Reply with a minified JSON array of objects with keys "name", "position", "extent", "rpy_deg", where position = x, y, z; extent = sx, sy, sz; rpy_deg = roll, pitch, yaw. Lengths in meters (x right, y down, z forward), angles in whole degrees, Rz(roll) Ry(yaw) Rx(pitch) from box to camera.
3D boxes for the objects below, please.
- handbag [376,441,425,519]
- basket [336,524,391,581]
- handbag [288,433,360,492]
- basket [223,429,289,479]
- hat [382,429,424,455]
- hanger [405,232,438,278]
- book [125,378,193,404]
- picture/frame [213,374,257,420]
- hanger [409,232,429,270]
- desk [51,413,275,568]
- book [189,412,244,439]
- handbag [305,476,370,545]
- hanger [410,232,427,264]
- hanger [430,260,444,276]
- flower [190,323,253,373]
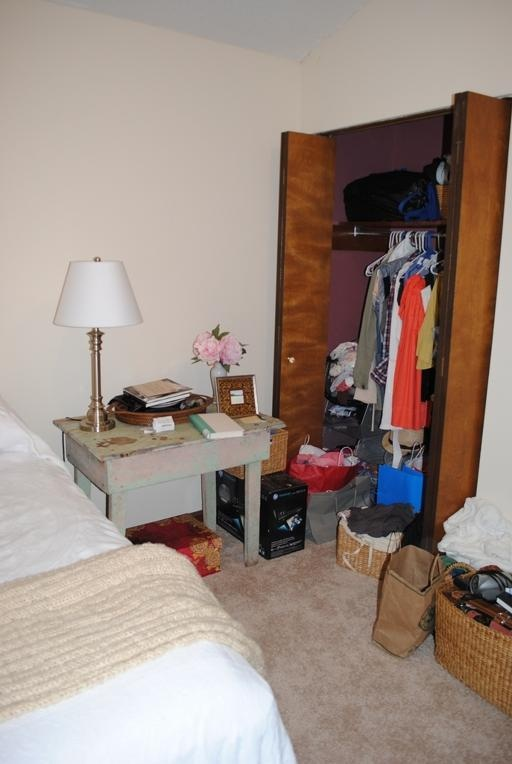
[{"name":"handbag","position":[0.689,0.465,2.962],"extent":[0.184,0.320,0.328],"rpy_deg":[-2,7,-30]},{"name":"basket","position":[0.439,0.731,2.611],"extent":[0.181,0.226,0.234],"rpy_deg":[9,5,-39]},{"name":"handbag","position":[0.337,0.430,3.132],"extent":[0.284,0.272,0.215],"rpy_deg":[3,5,-29]},{"name":"basket","position":[0.020,0.353,3.047],"extent":[0.247,0.170,0.243],"rpy_deg":[-4,3,-38]},{"name":"hat","position":[0.758,0.321,3.051],"extent":[0.156,0.044,0.118],"rpy_deg":[-21,40,1]},{"name":"hanger","position":[0.786,-0.574,2.775],"extent":[0.082,0.221,0.175],"rpy_deg":[22,20,37]},{"name":"book","position":[-0.435,0.037,2.531],"extent":[0.146,0.035,0.149],"rpy_deg":[-11,20,-37]},{"name":"picture/frame","position":[-0.100,0.072,2.638],"extent":[0.186,0.182,0.015],"rpy_deg":[8,-12,-38]},{"name":"hanger","position":[0.780,-0.626,2.810],"extent":[0.037,0.158,0.159],"rpy_deg":[0,11,-16]},{"name":"desk","position":[-0.385,0.484,2.507],"extent":[0.805,0.594,0.498],"rpy_deg":[-6,11,-40]},{"name":"book","position":[-0.167,0.172,2.385],"extent":[0.130,0.026,0.127],"rpy_deg":[0,18,-30]},{"name":"handbag","position":[0.371,0.622,2.826],"extent":[0.275,0.217,0.100],"rpy_deg":[-13,27,-31]},{"name":"hanger","position":[0.778,-0.658,2.839],"extent":[0.046,0.113,0.117],"rpy_deg":[3,11,0]},{"name":"hanger","position":[0.831,-0.524,2.724],"extent":[0.058,0.078,0.019],"rpy_deg":[6,-4,13]},{"name":"flower","position":[-0.176,-0.144,2.772],"extent":[0.241,0.167,0.237],"rpy_deg":[7,45,-1]}]
